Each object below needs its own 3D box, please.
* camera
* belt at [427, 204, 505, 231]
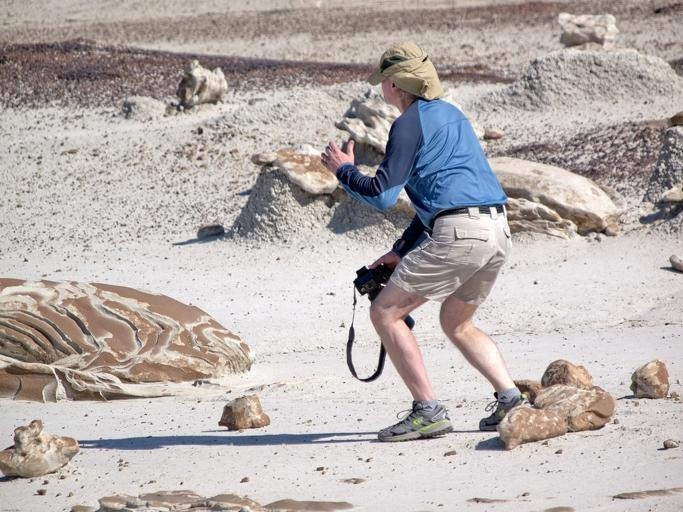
[{"bbox_3d":[0.408,0.399,14.591,0.758,0.650,0.591,-2,14,-5],"label":"camera"},{"bbox_3d":[1.281,-0.396,13.992,0.792,0.264,0.140,-6,25,-9],"label":"belt"}]
